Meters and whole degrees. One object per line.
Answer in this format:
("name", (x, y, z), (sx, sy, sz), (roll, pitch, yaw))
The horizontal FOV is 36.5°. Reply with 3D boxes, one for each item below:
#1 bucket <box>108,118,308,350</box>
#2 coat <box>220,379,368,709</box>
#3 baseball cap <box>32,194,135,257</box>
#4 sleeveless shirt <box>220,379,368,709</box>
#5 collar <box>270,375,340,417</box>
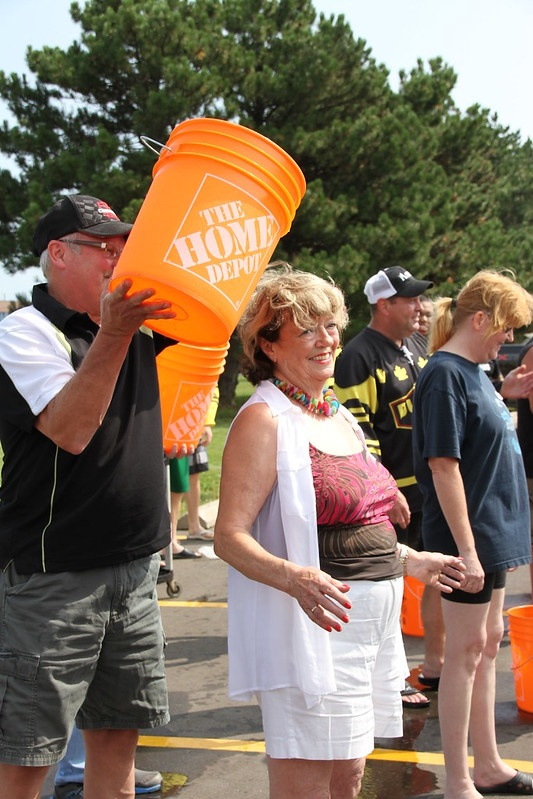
("bucket", (-0.177, -0.460, 2.064), (0.399, 0.400, 0.380), (12, 8, -2))
("coat", (0.043, 0.389, 2.221), (0.355, 0.855, 0.365), (-1, 3, 29))
("baseball cap", (-0.579, -0.517, 2.424), (0.295, 0.143, 0.195), (-22, 8, 7))
("sleeveless shirt", (0.042, 0.390, 2.219), (0.355, 0.853, 0.360), (-1, 3, 29))
("collar", (0.121, 0.009, 2.454), (0.157, 0.038, 0.131), (28, -18, -19))
